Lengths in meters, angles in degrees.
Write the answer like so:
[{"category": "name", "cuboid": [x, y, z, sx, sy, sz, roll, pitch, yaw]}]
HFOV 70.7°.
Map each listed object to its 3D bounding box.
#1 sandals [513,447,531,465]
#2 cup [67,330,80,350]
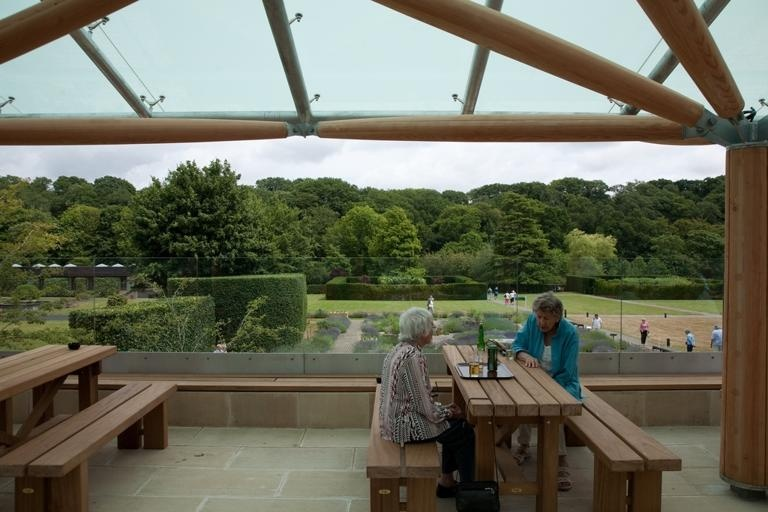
[{"category": "sandals", "cuboid": [1.695, 2.445, 6.664, 0.130, 0.122, 0.340, -3, -9, 18]}, {"category": "cup", "cuboid": [-4.546, 1.212, 7.903, 0.217, 0.222, 0.217, 2, -5, 0]}]
